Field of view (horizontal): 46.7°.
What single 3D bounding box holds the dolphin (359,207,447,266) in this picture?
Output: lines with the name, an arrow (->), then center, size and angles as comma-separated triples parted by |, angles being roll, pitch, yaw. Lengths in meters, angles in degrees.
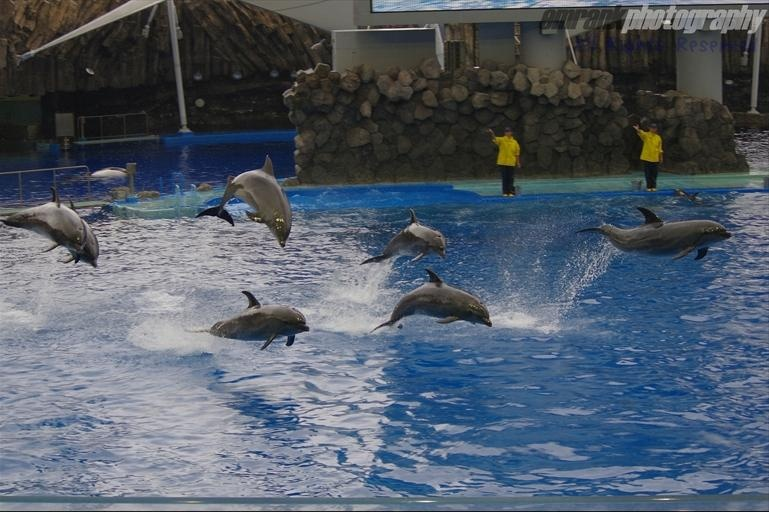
dolphin -> 0.132, -0.198, 11.715 | 1.346, 0.541, 0.612 | -4, 0, 39

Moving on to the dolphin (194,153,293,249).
dolphin -> -1.571, -0.641, 10.289 | 0.829, 0.996, 1.219 | -3, 6, -9

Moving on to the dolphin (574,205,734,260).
dolphin -> 3.418, -0.265, 10.832 | 1.073, 0.647, 0.981 | 4, 8, 44

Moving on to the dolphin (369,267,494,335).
dolphin -> 0.647, 0.558, 10.740 | 1.636, 0.575, 0.613 | 3, 6, 39

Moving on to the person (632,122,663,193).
person -> 5.843, -2.076, 18.834 | 0.840, 1.581, 0.818 | 0, 2, -2

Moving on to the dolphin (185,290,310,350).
dolphin -> -1.518, 0.734, 10.697 | 0.447, 0.604, 1.144 | -8, 8, -42
